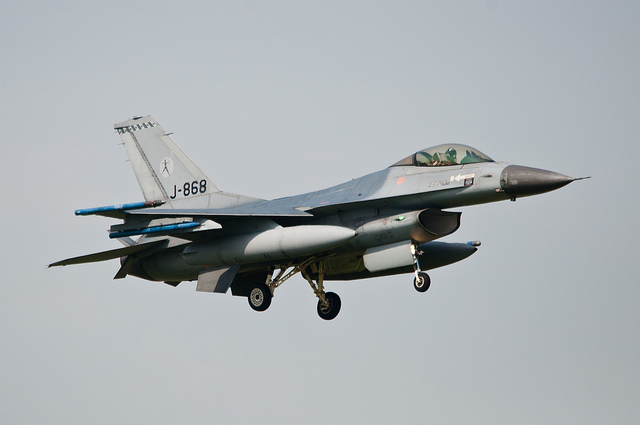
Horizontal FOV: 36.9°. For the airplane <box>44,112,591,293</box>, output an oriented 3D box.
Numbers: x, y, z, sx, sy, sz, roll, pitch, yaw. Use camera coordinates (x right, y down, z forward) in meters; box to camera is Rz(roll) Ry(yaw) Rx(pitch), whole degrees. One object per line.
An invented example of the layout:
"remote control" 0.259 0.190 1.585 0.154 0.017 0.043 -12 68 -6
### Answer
"airplane" -0.588 0.223 21.118 7.547 2.523 5.674 -5 -6 28
